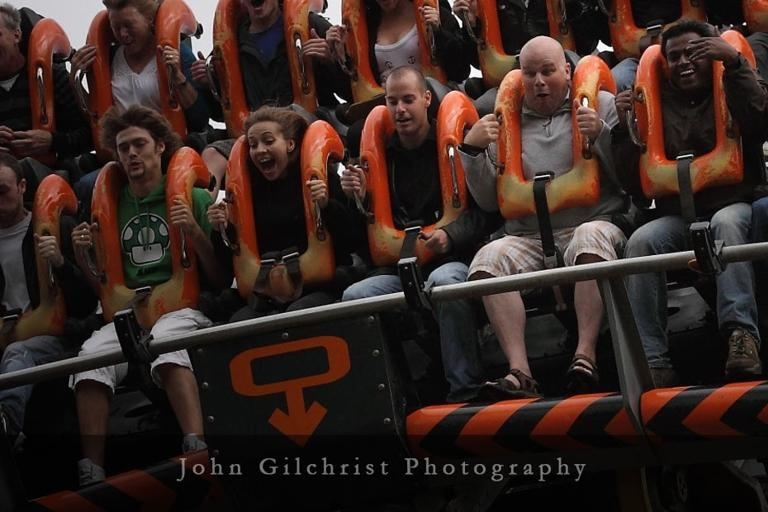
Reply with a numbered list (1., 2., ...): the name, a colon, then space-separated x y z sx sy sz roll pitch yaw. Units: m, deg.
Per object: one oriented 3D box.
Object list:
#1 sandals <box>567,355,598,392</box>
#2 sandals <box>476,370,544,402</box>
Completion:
1. sandals: 1.250 0.744 4.989 0.134 0.157 0.324 0 -24 16
2. sandals: 0.751 0.764 4.757 0.341 0.160 0.168 6 -12 -44
